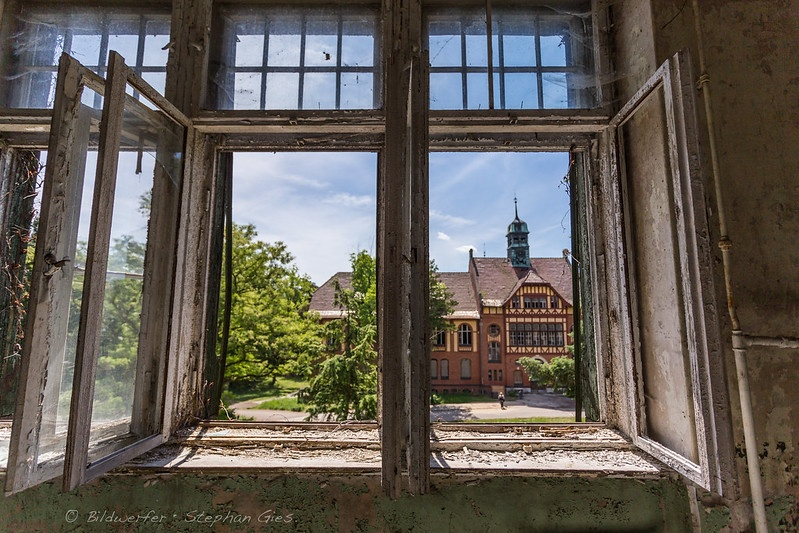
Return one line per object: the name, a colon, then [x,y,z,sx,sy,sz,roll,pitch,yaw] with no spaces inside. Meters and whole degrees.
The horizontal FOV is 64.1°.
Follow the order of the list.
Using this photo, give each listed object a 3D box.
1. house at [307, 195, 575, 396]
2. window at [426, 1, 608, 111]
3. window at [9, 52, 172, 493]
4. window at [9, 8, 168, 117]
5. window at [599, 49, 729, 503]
house: [2.331,1.268,24.735,8.524,6.899,4.790,1,-14,2]
window: [0.661,-1.120,3.453,0.737,0.514,0.058,0,-14,-2]
window: [-1.342,0.017,2.991,0.721,1.941,0.489,5,-10,-38]
window: [-1.588,-1.047,3.310,0.763,0.541,0.034,3,-14,1]
window: [1.273,0.043,3.091,0.215,1.984,0.679,2,-8,-18]
